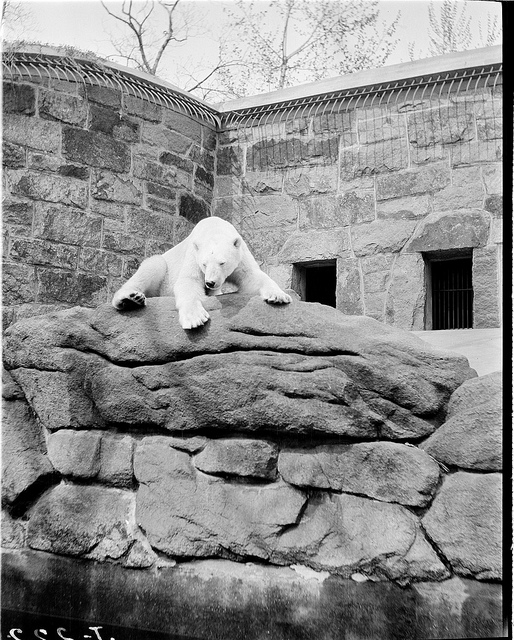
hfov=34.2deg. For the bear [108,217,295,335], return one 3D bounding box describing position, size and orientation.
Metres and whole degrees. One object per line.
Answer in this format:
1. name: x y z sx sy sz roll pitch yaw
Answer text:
1. bear: -0.307 -0.251 4.343 0.839 0.700 0.575 1 -7 18
